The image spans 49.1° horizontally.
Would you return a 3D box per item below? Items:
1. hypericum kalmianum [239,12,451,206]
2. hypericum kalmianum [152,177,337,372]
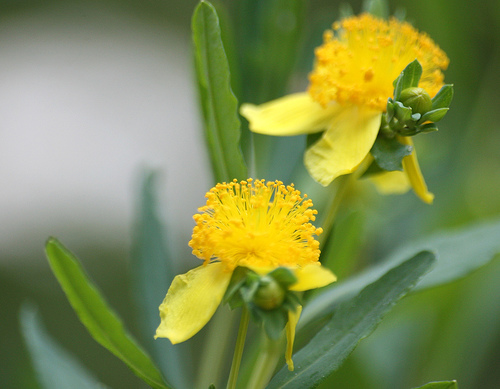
[{"bbox_3d":[0.130,-0.141,0.755,0.283,0.160,0.189,-27,45,-32],"label":"hypericum kalmianum"},{"bbox_3d":[-0.023,0.103,0.744,0.211,0.199,0.229,21,35,18],"label":"hypericum kalmianum"}]
